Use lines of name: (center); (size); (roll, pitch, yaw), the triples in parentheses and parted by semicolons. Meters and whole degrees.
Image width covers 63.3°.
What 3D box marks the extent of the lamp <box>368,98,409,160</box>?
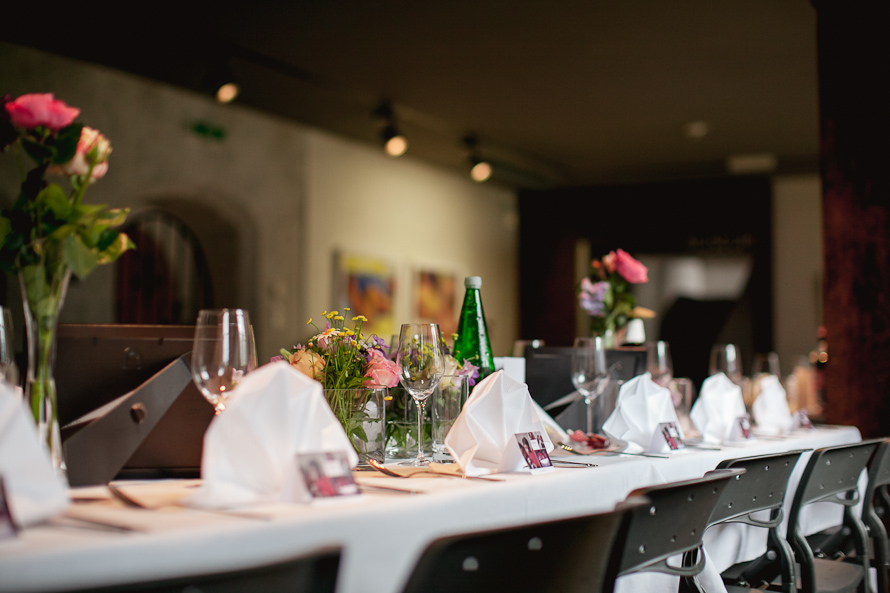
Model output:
lamp: (-0.450, -1.352, 5.856); (0.183, 0.456, 0.415); (-26, 19, -25)

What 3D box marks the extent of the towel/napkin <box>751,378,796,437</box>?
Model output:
towel/napkin: (1.445, 0.487, 3.194); (0.198, 0.289, 0.226); (-6, 0, 33)

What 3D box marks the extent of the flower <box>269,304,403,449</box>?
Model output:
flower: (-0.260, 0.238, 2.040); (0.333, 0.354, 0.349); (-6, -10, 36)

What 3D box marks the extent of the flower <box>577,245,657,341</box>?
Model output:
flower: (0.757, 0.002, 3.308); (0.286, 0.425, 0.340); (-1, -2, 11)

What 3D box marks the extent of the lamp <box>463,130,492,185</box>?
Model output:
lamp: (0.272, -1.165, 6.094); (0.246, 0.293, 0.511); (-1, -3, 4)

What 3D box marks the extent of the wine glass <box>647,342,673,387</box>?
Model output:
wine glass: (0.819, 0.262, 2.770); (0.108, 0.191, 0.112); (-3, -4, 44)

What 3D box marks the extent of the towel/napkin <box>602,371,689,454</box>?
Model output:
towel/napkin: (0.646, 0.402, 2.354); (0.232, 0.259, 0.246); (0, -19, 17)

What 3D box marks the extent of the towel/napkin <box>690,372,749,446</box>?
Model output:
towel/napkin: (1.014, 0.429, 2.760); (0.238, 0.294, 0.215); (11, -7, -40)

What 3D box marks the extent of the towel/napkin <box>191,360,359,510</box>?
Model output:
towel/napkin: (-0.386, 0.309, 1.562); (0.272, 0.259, 0.044); (-1, -2, -17)
